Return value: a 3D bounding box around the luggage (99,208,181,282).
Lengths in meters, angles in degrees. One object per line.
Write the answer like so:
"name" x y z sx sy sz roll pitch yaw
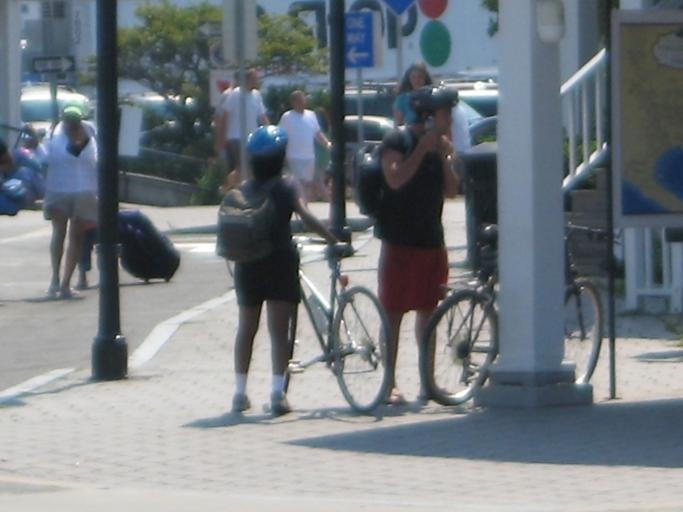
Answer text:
"luggage" -2.002 -0.065 19.986 0.634 0.808 0.408 -5 15 -11

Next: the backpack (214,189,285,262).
"backpack" -0.717 -0.227 14.634 0.413 0.506 0.266 -1 15 2

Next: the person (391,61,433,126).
"person" 0.658 -1.430 17.670 0.382 0.705 0.364 0 12 5

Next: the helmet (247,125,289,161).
"helmet" -0.570 -0.860 14.834 0.303 0.251 0.347 -2 14 -3

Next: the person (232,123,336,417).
"person" -0.497 0.124 15.005 1.090 2.153 0.722 2 3 26

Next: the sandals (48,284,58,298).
"sandals" -2.887 0.367 19.145 0.118 0.120 0.120 -4 14 -8

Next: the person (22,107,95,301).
"person" -2.829 -0.508 19.258 0.678 1.730 0.686 0 2 -7

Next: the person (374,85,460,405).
"person" 0.648 -0.051 15.092 0.815 2.429 0.850 0 3 38

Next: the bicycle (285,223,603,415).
"bicycle" 0.770 0.522 15.554 2.519 1.397 1.278 -3 0 -21

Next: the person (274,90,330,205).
"person" -0.448 -1.295 22.876 0.561 1.571 0.573 0 2 -7

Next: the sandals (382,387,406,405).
"sandals" 0.428 1.115 15.065 0.045 0.133 0.147 -6 6 -19

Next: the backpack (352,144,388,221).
"backpack" 0.233 -0.561 15.015 0.224 0.570 0.247 -2 15 0

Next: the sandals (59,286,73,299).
"sandals" -2.758 0.387 19.184 0.063 0.074 0.200 5 10 22
